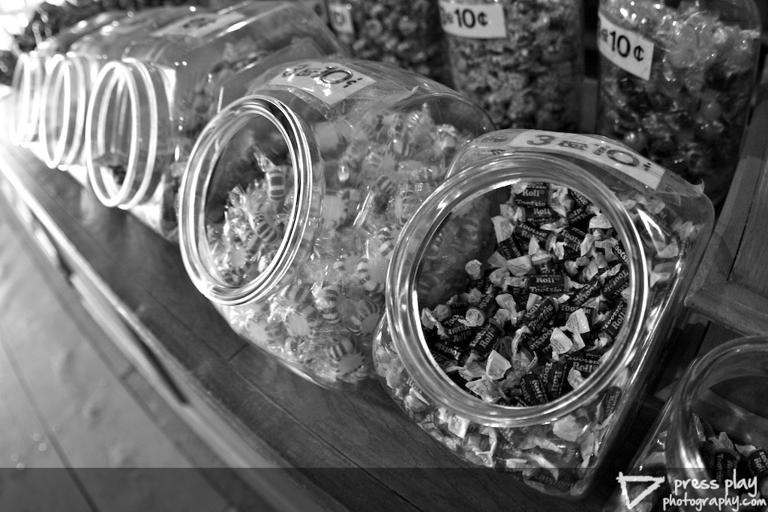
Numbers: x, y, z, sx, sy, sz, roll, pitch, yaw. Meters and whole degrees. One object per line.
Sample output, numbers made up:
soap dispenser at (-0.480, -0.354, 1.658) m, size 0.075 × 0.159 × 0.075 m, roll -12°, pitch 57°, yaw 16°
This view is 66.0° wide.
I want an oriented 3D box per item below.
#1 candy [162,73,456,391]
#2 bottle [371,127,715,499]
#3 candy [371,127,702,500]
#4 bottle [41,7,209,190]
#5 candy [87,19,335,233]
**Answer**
candy at (-0.138, -0.089, 1.255) m, size 0.553 × 0.535 × 0.520 m, roll 53°, pitch -4°, yaw 14°
bottle at (0.243, 0.106, 0.920) m, size 0.310 × 0.383 × 0.435 m, roll 32°, pitch 7°, yaw 14°
candy at (0.234, 0.107, 0.920) m, size 0.312 × 0.390 × 0.444 m, roll 31°, pitch 6°, yaw 11°
bottle at (-0.586, -0.343, 1.345) m, size 0.208 × 0.246 × 0.405 m, roll 18°, pitch 30°, yaw 29°
candy at (-0.393, -0.241, 1.417) m, size 0.487 × 0.372 × 0.498 m, roll -26°, pitch 13°, yaw -32°
